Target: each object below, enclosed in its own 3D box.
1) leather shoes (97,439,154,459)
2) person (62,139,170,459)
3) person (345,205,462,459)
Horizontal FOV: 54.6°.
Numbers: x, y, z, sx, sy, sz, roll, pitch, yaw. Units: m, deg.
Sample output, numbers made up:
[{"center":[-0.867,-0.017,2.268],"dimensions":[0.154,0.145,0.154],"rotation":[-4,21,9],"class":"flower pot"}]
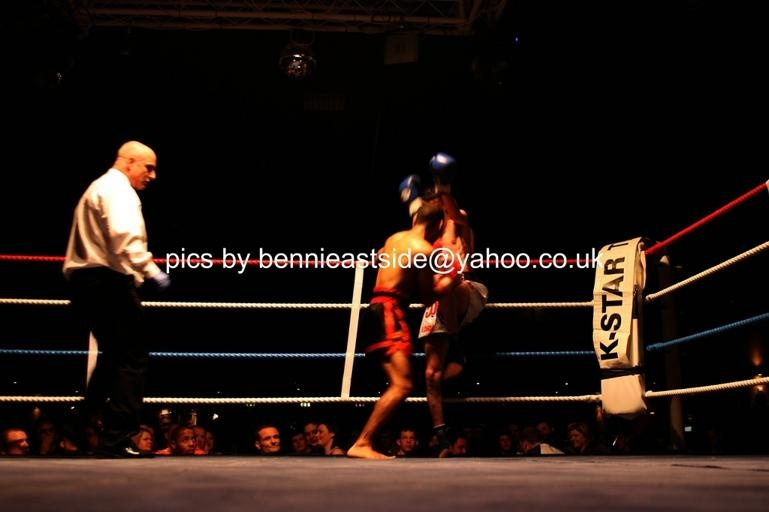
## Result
[{"center":[-1.663,1.238,4.803],"dimensions":[0.426,0.160,0.129],"rotation":[3,-24,-7],"class":"leather shoes"},{"center":[-1.768,0.345,4.810],"dimensions":[0.624,1.836,0.421],"rotation":[7,-13,-21],"class":"person"},{"center":[0.107,0.444,5.094],"dimensions":[0.607,1.817,0.394],"rotation":[6,-13,-17],"class":"person"}]
